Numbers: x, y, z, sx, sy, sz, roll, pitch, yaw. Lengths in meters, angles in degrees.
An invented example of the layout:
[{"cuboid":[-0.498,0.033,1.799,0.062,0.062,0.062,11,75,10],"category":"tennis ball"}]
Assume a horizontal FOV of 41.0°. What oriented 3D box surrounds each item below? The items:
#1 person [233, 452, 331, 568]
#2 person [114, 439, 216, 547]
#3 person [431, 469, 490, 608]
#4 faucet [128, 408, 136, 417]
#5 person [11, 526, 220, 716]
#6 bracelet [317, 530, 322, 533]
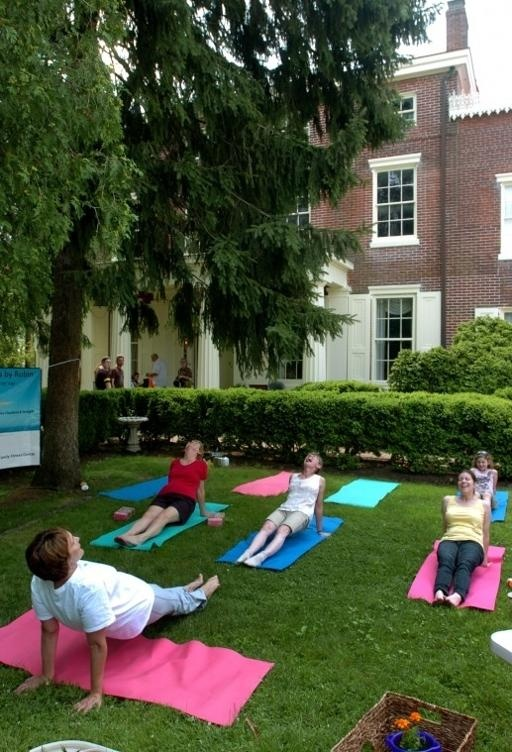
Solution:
[{"cuboid":[0.226,1.180,6.175,0.536,0.832,1.257,2,8,36],"category":"person"},{"cuboid":[-0.912,1.127,6.602,0.488,0.635,1.041,12,14,23],"category":"person"},{"cuboid":[1.544,1.257,5.207,0.361,0.642,1.144,-1,11,20],"category":"person"},{"cuboid":[-2.217,0.649,12.170,0.130,0.127,0.124,0,-1,-13],"category":"faucet"},{"cuboid":[-0.857,1.240,3.961,0.497,0.905,1.316,0,-1,17],"category":"person"},{"cuboid":[0.592,1.460,6.422,0.026,0.022,0.010,-4,3,8],"category":"bracelet"}]
